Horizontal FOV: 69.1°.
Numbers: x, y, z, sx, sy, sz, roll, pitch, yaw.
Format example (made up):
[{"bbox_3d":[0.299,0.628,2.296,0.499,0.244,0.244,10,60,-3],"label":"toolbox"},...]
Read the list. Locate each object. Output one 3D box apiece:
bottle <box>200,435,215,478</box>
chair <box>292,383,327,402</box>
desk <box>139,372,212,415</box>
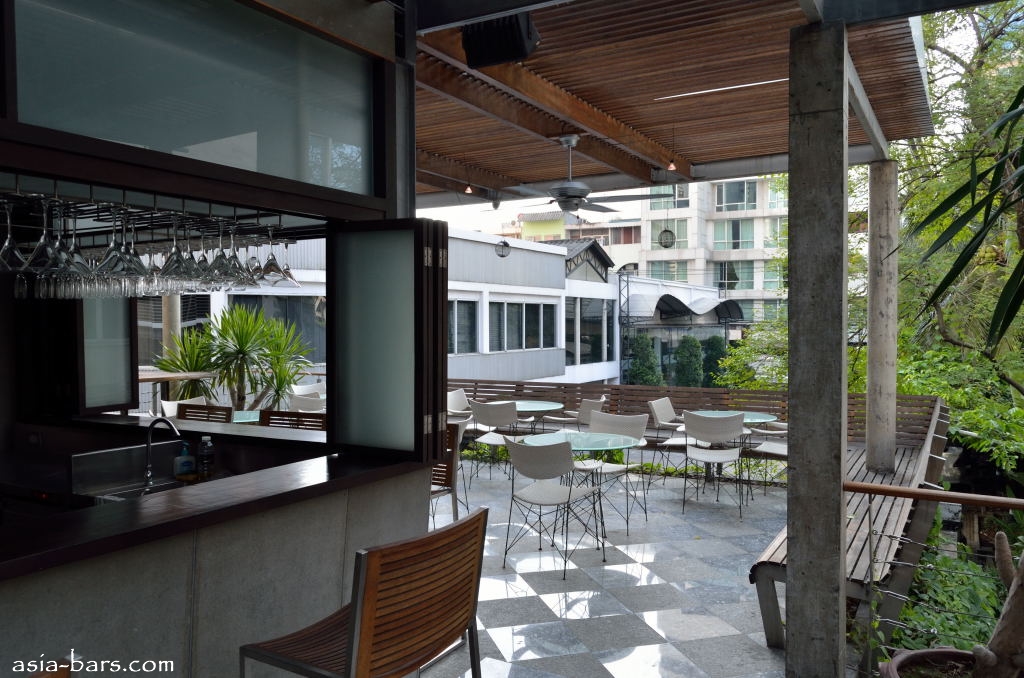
[{"bbox_3d":[-2.040,0.776,4.936,0.083,0.252,0.133,-1,6,-15],"label":"bottle"},{"bbox_3d":[-2.847,0.736,10.688,0.440,0.184,0.397,6,7,25],"label":"chair"},{"bbox_3d":[-4.413,0.560,9.607,0.768,0.715,0.748,1,-2,-36],"label":"desk"}]
